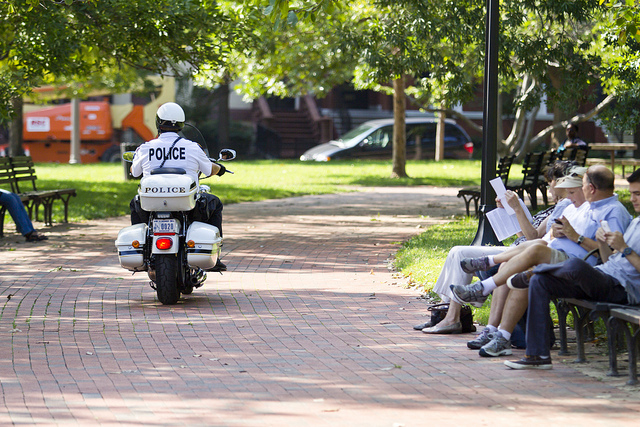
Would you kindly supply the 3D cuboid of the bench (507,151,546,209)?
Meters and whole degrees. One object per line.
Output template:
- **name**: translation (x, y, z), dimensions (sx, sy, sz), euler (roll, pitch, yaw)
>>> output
- **bench**: translation (4.185, -0.656, 19.807), dimensions (0.937, 1.210, 1.875), euler (3, 5, 21)

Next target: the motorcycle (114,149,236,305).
- **motorcycle**: translation (-1.921, 0.209, 12.651), dimensions (1.374, 1.998, 0.615), euler (-1, 14, -7)
